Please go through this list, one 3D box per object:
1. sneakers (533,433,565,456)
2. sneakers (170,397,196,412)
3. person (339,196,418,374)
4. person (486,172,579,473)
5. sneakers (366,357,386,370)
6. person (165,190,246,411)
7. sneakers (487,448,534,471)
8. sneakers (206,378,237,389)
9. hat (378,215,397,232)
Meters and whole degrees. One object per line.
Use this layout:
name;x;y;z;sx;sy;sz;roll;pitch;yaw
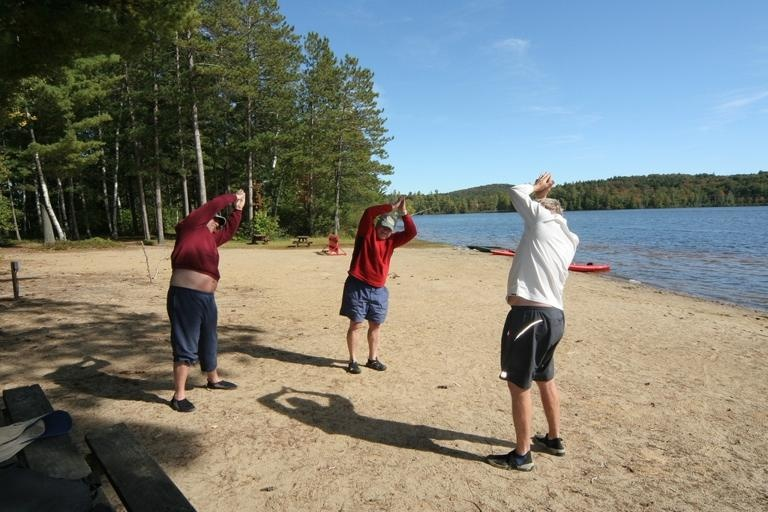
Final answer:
sneakers;2.063;2.358;6.133;0.179;0.149;0.426;5;-1;-33
sneakers;-2.691;1.996;6.546;0.327;0.097;0.154;1;-2;38
person;-0.141;0.441;7.946;1.042;2.902;0.977;5;15;4
person;1.800;0.774;5.814;0.972;3.483;1.054;7;16;12
sneakers;-0.141;1.798;8.158;0.333;0.124;0.190;4;6;23
person;-2.500;0.608;6.644;0.727;2.831;1.137;3;15;-3
sneakers;1.504;2.429;5.834;0.592;0.207;0.218;3;-6;10
sneakers;-2.373;1.879;7.166;0.359;0.099;0.165;1;-2;-2
hat;0.040;-0.525;7.889;0.283;0.314;0.427;3;13;-1
